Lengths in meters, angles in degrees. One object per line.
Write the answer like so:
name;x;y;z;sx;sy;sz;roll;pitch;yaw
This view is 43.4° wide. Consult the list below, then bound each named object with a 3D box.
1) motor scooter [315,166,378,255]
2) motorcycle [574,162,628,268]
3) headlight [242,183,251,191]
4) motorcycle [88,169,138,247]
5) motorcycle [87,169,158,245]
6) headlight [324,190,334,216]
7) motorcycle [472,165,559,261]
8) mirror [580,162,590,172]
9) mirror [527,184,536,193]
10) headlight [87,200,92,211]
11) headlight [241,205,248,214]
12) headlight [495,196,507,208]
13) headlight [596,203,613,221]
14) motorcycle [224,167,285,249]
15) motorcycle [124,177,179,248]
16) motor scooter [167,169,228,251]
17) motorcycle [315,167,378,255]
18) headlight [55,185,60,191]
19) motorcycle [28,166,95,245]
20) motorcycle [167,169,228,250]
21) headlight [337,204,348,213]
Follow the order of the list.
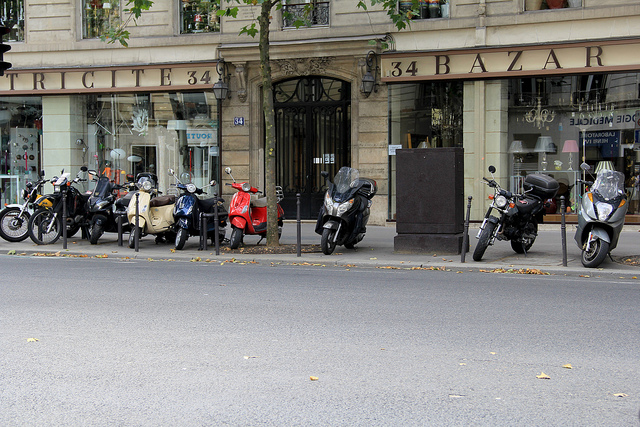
motor scooter;0.570;-0.097;17.890;1.022;1.747;2.581;11;10;19
motorcycle;5.387;0.033;15.297;0.821;1.464;2.227;1;1;36
headlight;-1.616;-0.581;17.541;0.177;0.169;0.184;0;4;-5
motorcycle;-4.986;-0.227;19.589;1.116;1.623;2.536;3;5;13
motorcycle;-4.914;-0.249;19.632;1.272;1.683;2.685;4;8;23
headlight;0.167;-0.211;17.143;0.165;0.483;0.412;0;5;-10
motorcycle;3.977;0.077;16.464;1.833;1.716;0.927;-2;5;-33
mirror;7.364;-1.289;22.354;0.244;0.235;0.065;-5;-7;28
mirror;4.351;-0.516;16.586;0.130;0.069;0.164;2;-8;-8
headlight;-5.396;-0.188;18.728;0.125;0.168;0.065;-5;-4;39
headlight;-1.671;-0.100;17.618;0.135;0.174;0.072;0;4;-4
headlight;3.586;-0.240;16.042;0.210;0.211;0.105;2;5;16
headlight;5.308;-0.032;15.038;0.267;0.315;0.205;2;5;17
motorcycle;-1.522;-0.123;18.363;1.064;1.631;2.169;4;6;26
motorcycle;-3.964;-0.120;18.728;0.900;1.559;2.211;4;7;18
motor scooter;-2.803;-0.085;18.207;1.172;1.761;1.275;0;4;-8
motorcycle;0.634;-0.063;17.867;1.090;1.793;2.643;11;10;18
headlight;-6.048;-0.589;18.463;0.104;0.184;0.105;-4;-4;42
motorcycle;-6.147;-0.006;19.634;0.995;1.517;2.425;-1;2;31
motorcycle;-2.799;-0.009;18.236;0.945;1.501;2.503;1;2;26
headlight;0.462;-0.103;16.968;0.217;0.158;0.040;-1;5;-25
